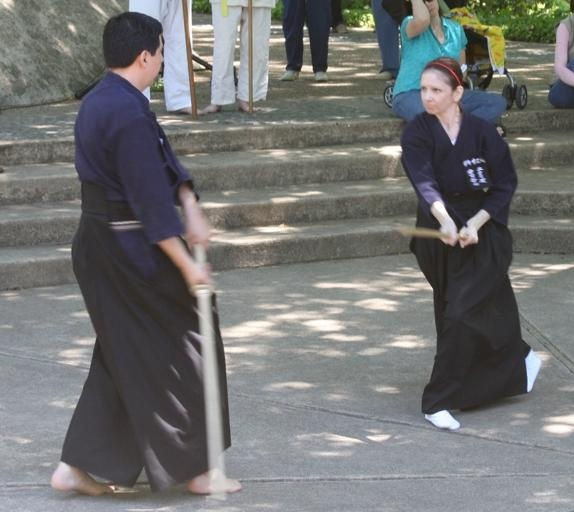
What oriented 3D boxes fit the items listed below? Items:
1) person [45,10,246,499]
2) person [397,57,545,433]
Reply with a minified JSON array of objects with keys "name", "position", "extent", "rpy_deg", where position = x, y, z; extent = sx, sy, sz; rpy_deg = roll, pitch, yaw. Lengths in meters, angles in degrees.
[{"name":"person","position":[-0.810,0.026,7.909],"extent":[0.968,2.631,0.534],"rpy_deg":[-1,12,0]},{"name":"person","position":[1.100,-0.094,8.758],"extent":[0.846,2.133,0.579],"rpy_deg":[1,12,5]}]
